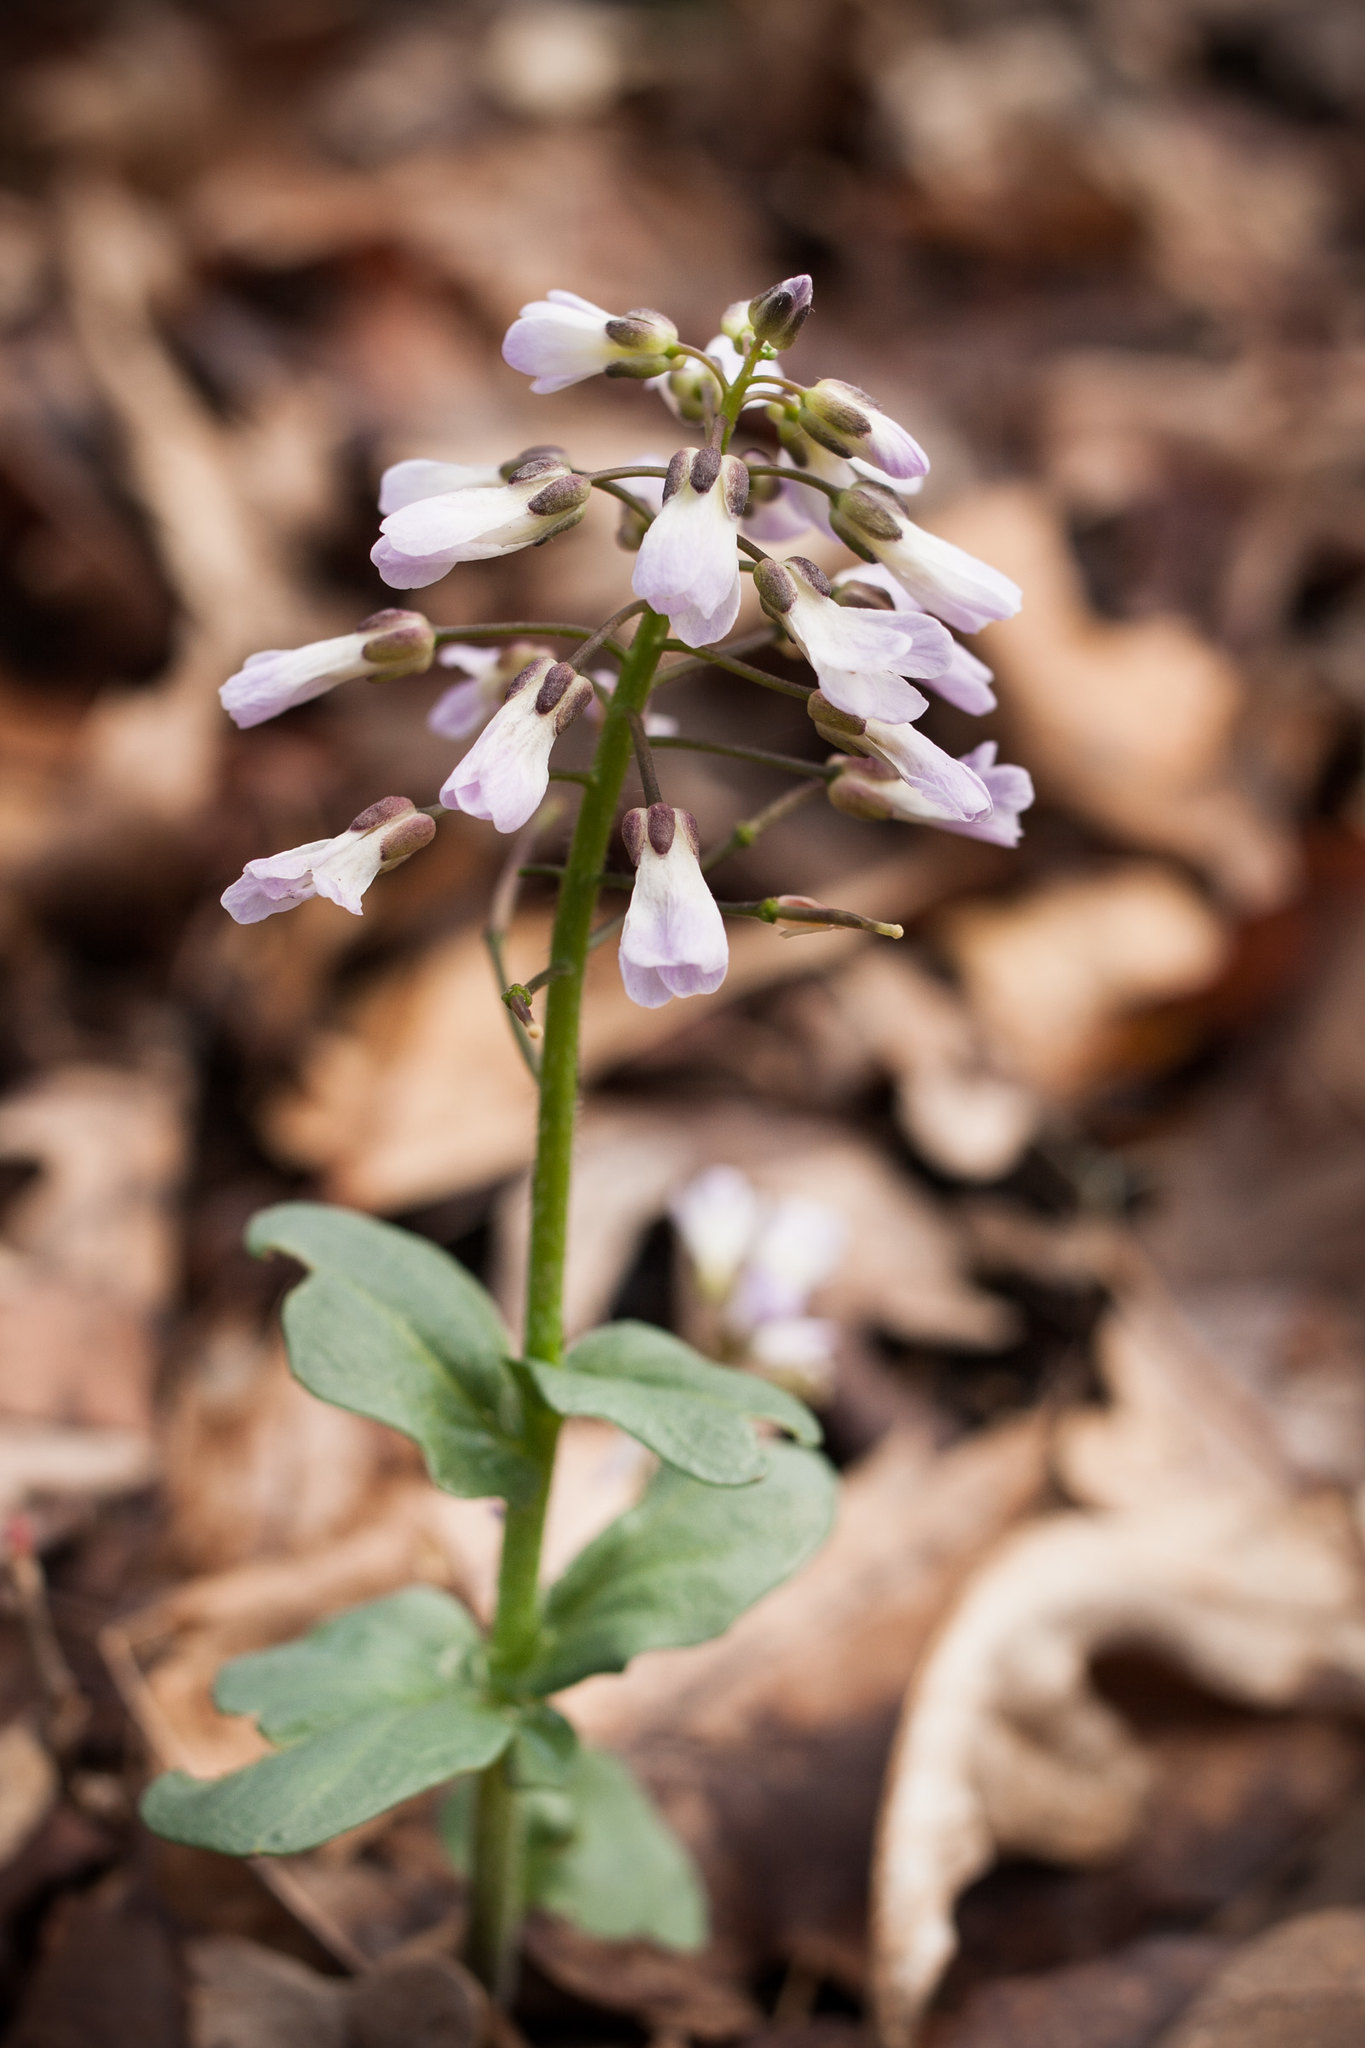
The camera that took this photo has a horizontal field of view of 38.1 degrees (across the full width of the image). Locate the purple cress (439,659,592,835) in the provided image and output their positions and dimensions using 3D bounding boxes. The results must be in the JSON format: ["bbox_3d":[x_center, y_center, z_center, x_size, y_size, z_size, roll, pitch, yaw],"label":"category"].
[{"bbox_3d":[-0.091,-0.186,1.410,0.080,0.057,0.141,9,60,43],"label":"purple cress"}]

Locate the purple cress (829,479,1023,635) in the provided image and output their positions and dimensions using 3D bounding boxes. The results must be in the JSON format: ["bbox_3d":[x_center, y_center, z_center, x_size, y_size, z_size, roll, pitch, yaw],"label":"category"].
[{"bbox_3d":[0.176,-0.333,1.474,0.169,0.053,0.073,39,45,9],"label":"purple cress"}]

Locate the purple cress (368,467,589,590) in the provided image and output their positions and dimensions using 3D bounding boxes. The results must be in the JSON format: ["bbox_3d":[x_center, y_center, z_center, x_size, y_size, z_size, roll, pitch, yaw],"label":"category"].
[{"bbox_3d":[-0.151,-0.347,1.407,0.152,0.050,0.076,-12,12,-6],"label":"purple cress"}]

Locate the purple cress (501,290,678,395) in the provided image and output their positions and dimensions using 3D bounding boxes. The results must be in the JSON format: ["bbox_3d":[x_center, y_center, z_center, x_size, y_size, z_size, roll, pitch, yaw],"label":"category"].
[{"bbox_3d":[-0.069,-0.494,1.462,0.122,0.052,0.073,5,63,0],"label":"purple cress"}]

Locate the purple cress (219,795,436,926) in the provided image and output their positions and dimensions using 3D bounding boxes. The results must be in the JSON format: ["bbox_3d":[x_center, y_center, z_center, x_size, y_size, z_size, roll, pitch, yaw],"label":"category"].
[{"bbox_3d":[-0.262,-0.108,1.459,0.082,0.052,0.151,27,44,21],"label":"purple cress"}]

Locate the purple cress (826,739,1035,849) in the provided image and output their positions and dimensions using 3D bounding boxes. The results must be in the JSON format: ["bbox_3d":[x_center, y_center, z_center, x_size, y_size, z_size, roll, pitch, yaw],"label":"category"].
[{"bbox_3d":[0.201,-0.178,1.603,0.161,0.084,0.062,5,40,-6],"label":"purple cress"}]

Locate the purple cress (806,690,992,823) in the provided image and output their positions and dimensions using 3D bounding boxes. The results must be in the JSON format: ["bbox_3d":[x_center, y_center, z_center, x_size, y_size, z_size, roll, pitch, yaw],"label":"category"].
[{"bbox_3d":[0.145,-0.215,1.518,0.063,0.056,0.203,-33,46,-21],"label":"purple cress"}]

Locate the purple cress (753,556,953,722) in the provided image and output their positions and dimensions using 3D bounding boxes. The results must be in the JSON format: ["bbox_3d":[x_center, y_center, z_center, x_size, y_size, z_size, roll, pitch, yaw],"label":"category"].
[{"bbox_3d":[0.090,-0.265,1.427,0.157,0.070,0.092,35,40,18],"label":"purple cress"}]
